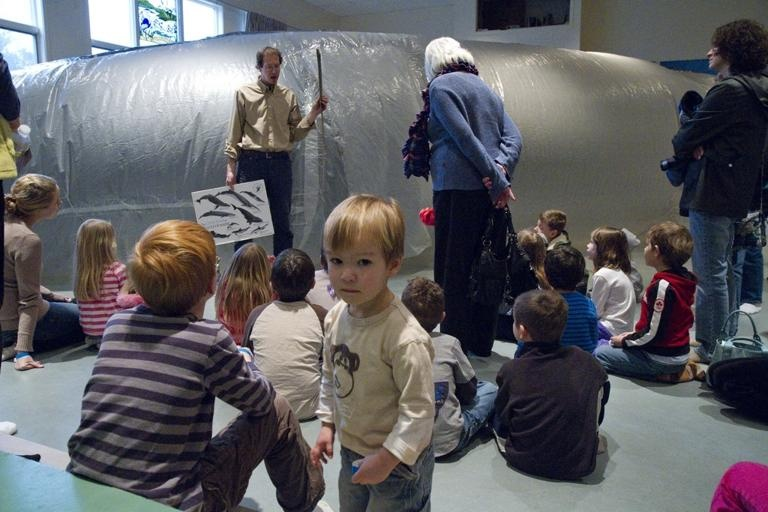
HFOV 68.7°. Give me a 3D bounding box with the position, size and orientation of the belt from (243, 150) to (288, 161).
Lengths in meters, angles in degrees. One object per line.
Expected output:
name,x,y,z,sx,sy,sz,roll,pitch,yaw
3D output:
belt,-0.850,-0.728,4.057,0.330,0.075,0.075,0,7,-17

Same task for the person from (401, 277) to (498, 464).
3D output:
person,0.325,0.500,2.781,0.485,0.740,0.539,8,11,7

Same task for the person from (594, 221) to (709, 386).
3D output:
person,1.541,0.234,3.307,0.472,0.877,0.542,-3,5,-40

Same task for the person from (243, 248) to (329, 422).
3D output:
person,-0.491,0.343,3.001,0.480,0.796,0.631,7,10,8

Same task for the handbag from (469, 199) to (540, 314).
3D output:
handbag,0.696,0.009,3.248,0.412,0.622,0.260,2,6,19

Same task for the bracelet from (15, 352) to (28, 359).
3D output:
bracelet,-2.137,0.595,3.330,0.042,0.016,0.042,-6,-11,-24
